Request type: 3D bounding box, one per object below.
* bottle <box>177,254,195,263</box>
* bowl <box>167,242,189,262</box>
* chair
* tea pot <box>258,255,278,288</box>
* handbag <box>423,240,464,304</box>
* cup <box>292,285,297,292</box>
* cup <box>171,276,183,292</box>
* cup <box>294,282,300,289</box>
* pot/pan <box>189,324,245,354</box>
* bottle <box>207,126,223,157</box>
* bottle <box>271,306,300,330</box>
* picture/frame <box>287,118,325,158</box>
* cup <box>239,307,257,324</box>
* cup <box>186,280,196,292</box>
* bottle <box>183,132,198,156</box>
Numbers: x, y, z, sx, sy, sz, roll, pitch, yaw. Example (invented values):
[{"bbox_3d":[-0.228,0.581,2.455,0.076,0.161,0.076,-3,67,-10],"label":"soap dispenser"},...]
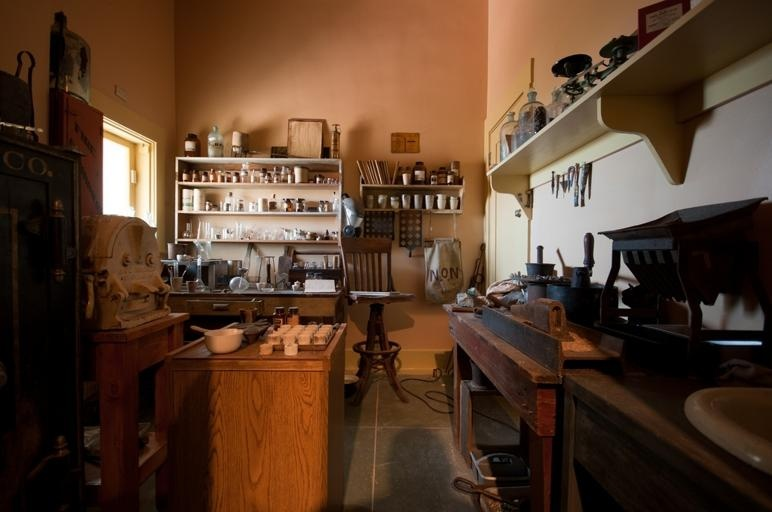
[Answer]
[{"bbox_3d":[-1.895,0.017,5.296,0.129,0.045,0.104,1,0,3],"label":"bottle"},{"bbox_3d":[-2.008,-0.046,5.446,0.143,0.246,0.240,1,6,6],"label":"bowl"},{"bbox_3d":[-0.102,0.536,5.191,0.633,1.363,1.147,1,11,-6],"label":"chair"},{"bbox_3d":[-1.163,0.138,5.507,0.193,0.249,0.316,-1,11,-13],"label":"tea pot"},{"bbox_3d":[0.577,0.142,5.580,0.374,0.613,0.243,2,10,2],"label":"handbag"},{"bbox_3d":[-0.847,0.290,5.203,0.038,0.034,0.042,1,-8,-7],"label":"cup"},{"bbox_3d":[-1.820,0.236,4.935,0.105,0.121,0.108,-1,-7,0],"label":"cup"},{"bbox_3d":[-0.822,0.268,5.225,0.049,0.058,0.050,3,-3,0],"label":"cup"},{"bbox_3d":[-0.962,0.460,3.173,0.284,0.102,0.140,-4,-4,45],"label":"pot/pan"},{"bbox_3d":[-1.677,-1.130,5.534,0.163,0.293,0.334,-1,11,-16],"label":"bottle"},{"bbox_3d":[-0.618,0.385,3.485,0.108,0.163,0.165,1,-1,-3],"label":"bottle"},{"bbox_3d":[-0.794,-1.162,5.527,0.344,0.366,0.165,-1,11,-15],"label":"picture/frame"},{"bbox_3d":[-0.862,0.362,3.503,0.136,0.114,0.129,-1,-3,0],"label":"cup"},{"bbox_3d":[-1.693,0.261,4.900,0.079,0.091,0.081,0,-8,0],"label":"cup"},{"bbox_3d":[-1.888,-1.086,5.484,0.144,0.222,0.182,-2,11,-20],"label":"bottle"}]
